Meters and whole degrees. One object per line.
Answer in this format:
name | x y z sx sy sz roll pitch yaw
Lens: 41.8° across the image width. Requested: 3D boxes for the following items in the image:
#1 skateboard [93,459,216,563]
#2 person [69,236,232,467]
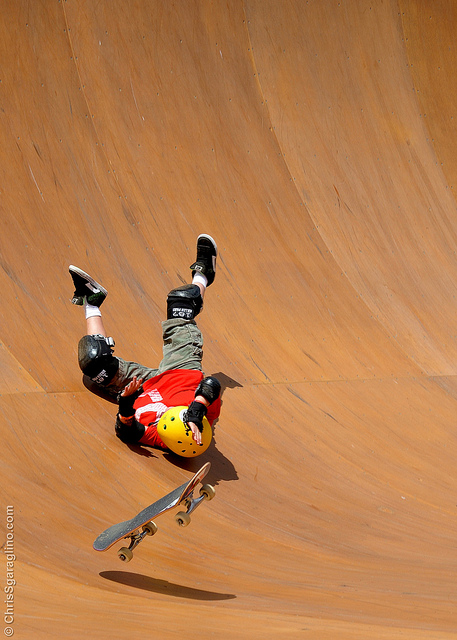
skateboard | -0.369 1.171 3.388 0.807 0.369 0.221 -36 -75 -1
person | -0.679 0.303 4.775 1.417 2.201 0.820 1 -48 -8
